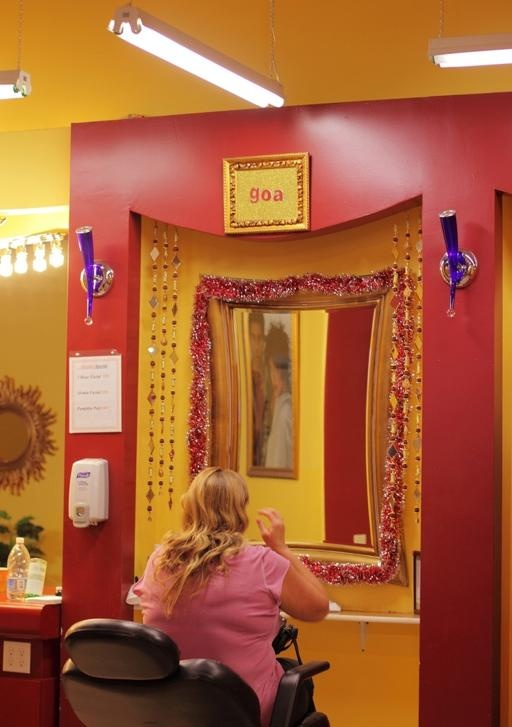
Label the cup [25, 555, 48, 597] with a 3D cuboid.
[{"bbox_3d":[-0.880,0.853,2.893,0.069,0.147,0.087,4,-6,-39],"label":"cup"}]

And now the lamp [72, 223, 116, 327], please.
[{"bbox_3d":[-0.654,-0.352,2.827,0.151,0.379,0.199,-1,-5,11],"label":"lamp"}]

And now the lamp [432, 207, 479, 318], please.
[{"bbox_3d":[0.656,-0.345,2.425,0.125,0.352,0.199,-3,-5,30],"label":"lamp"}]
